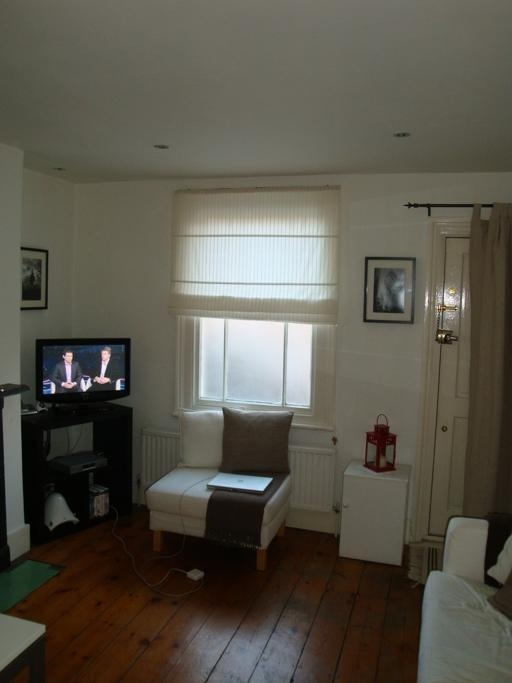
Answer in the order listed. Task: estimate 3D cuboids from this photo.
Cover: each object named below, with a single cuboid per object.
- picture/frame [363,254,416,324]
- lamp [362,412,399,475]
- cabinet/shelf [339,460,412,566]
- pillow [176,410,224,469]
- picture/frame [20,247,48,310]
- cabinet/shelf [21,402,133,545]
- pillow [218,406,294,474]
[{"bbox_3d":[0.883,-0.344,3.603,0.386,0.550,0.022,2,4,22],"label":"picture/frame"},{"bbox_3d":[0.802,0.638,3.569,0.201,0.353,0.211,3,0,6],"label":"lamp"},{"bbox_3d":[0.726,1.041,3.528,0.508,0.788,0.481,2,0,18],"label":"cabinet/shelf"},{"bbox_3d":[-0.359,0.697,3.904,0.368,0.407,0.136,4,-8,-29],"label":"pillow"},{"bbox_3d":[-1.617,-0.448,4.004,0.403,0.455,0.017,5,4,37],"label":"picture/frame"},{"bbox_3d":[-1.222,0.926,3.797,0.266,0.814,0.787,4,7,26],"label":"cabinet/shelf"},{"bbox_3d":[-0.005,0.681,3.723,0.380,0.394,0.149,0,-9,7],"label":"pillow"}]
